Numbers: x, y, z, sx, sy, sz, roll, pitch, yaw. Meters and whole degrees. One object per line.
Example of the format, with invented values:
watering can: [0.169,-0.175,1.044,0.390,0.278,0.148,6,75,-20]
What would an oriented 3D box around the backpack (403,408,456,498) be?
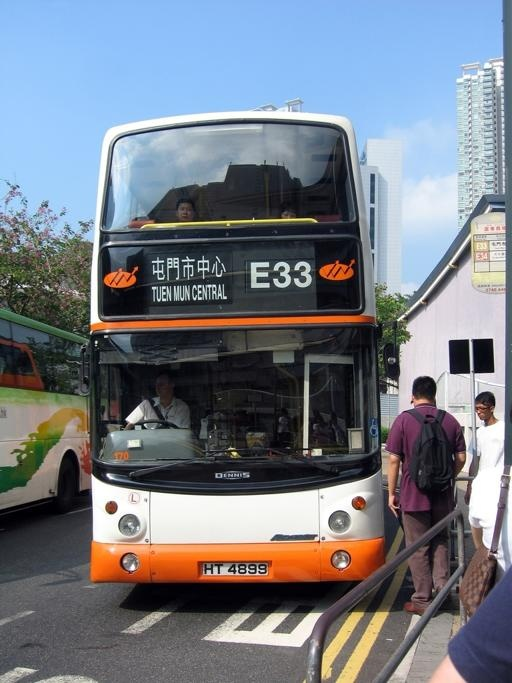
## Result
backpack: [1.418,0.910,5.523,0.355,0.707,0.279,-3,-7,9]

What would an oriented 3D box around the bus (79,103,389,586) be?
bus: [-0.133,0.389,7.607,2.583,3.937,4.518,-1,-6,2]
